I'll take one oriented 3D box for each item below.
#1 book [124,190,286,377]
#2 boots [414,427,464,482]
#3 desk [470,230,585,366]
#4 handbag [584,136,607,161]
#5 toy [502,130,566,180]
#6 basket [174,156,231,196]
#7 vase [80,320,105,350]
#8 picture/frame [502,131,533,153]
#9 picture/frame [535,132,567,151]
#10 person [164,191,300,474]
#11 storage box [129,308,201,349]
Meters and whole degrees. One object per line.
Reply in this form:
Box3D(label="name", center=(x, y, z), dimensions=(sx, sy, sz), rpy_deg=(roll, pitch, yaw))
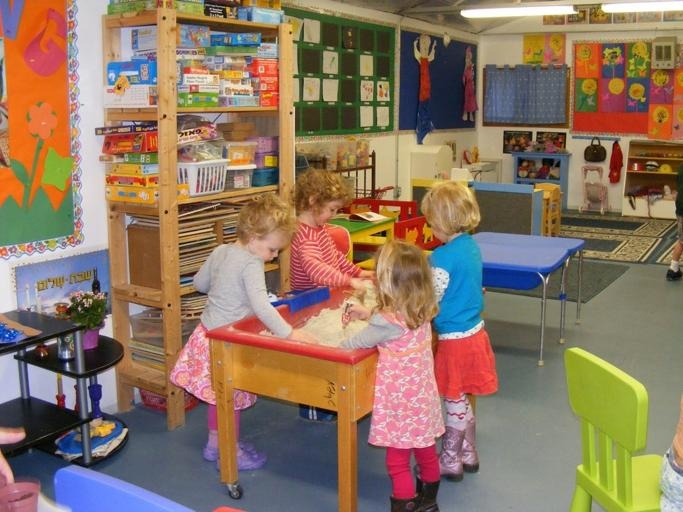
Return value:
Box3D(label="book", center=(-0.832, 0.146, 3.443), dimensions=(0.330, 0.956, 1.000), rpy_deg=(17, 26, 41))
Box3D(label="boots", center=(0.537, 1.097, 3.294), dimensions=(0.302, 0.301, 0.135), rpy_deg=(2, 6, 16))
Box3D(label="desk", center=(1.507, 0.341, 5.001), dimensions=(1.152, 0.876, 1.169), rpy_deg=(6, 15, 31))
Box3D(label="handbag", center=(4.804, -2.042, 10.991), dimensions=(0.480, 0.644, 0.195), rpy_deg=(0, 0, 15))
Box3D(label="toy", center=(3.806, -2.014, 11.361), dimensions=(0.912, 0.826, 0.273), rpy_deg=(7, 17, 24))
Box3D(label="basket", center=(-0.891, -0.523, 3.755), dimensions=(0.204, 0.185, 0.292), rpy_deg=(2, 4, 36))
Box3D(label="vase", center=(-1.506, 0.476, 3.508), dimensions=(0.143, 0.108, 0.151), rpy_deg=(-1, 12, -12))
Box3D(label="picture/frame", center=(3.493, -2.286, 11.504), dimensions=(0.462, 0.354, 0.019), rpy_deg=(5, 9, 23))
Box3D(label="picture/frame", center=(4.088, -2.249, 11.316), dimensions=(0.374, 0.275, 0.039), rpy_deg=(5, 9, 24))
Box3D(label="person", center=(-0.567, 0.455, 3.236), dimensions=(0.946, 1.590, 0.523), rpy_deg=(7, 11, 40))
Box3D(label="storage box", center=(-1.301, 0.481, 4.106), dimensions=(0.287, 0.131, 0.382), rpy_deg=(3, 7, 27))
